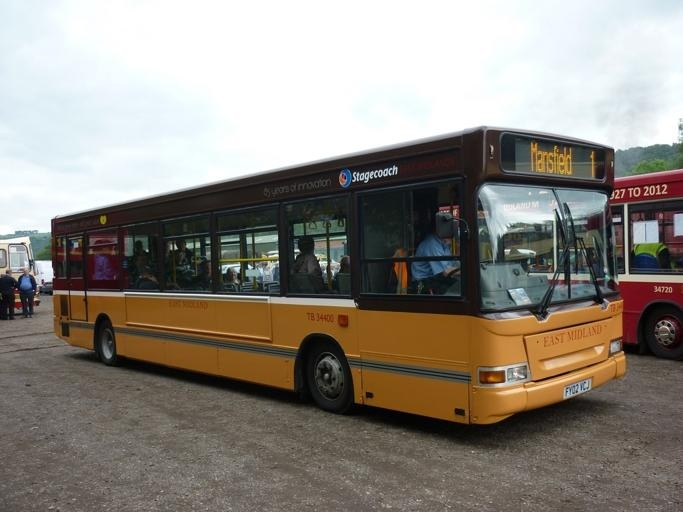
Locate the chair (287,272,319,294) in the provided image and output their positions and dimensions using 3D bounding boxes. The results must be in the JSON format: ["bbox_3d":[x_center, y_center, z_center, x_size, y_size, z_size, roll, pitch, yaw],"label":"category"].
[{"bbox_3d":[-0.525,0.321,7.953,0.281,0.304,0.395,-6,6,-41],"label":"chair"}]

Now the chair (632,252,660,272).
[{"bbox_3d":[5.930,0.133,10.465,0.270,0.417,0.498,0,2,-36],"label":"chair"}]

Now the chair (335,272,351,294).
[{"bbox_3d":[0.016,0.393,7.451,0.238,0.256,0.461,3,-16,-2],"label":"chair"}]

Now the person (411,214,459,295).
[{"bbox_3d":[1.234,-0.027,6.663,0.667,1.049,0.537,7,4,34],"label":"person"}]

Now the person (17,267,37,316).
[{"bbox_3d":[-15.141,1.748,25.769,0.669,2.300,0.976,-2,1,-24],"label":"person"}]
